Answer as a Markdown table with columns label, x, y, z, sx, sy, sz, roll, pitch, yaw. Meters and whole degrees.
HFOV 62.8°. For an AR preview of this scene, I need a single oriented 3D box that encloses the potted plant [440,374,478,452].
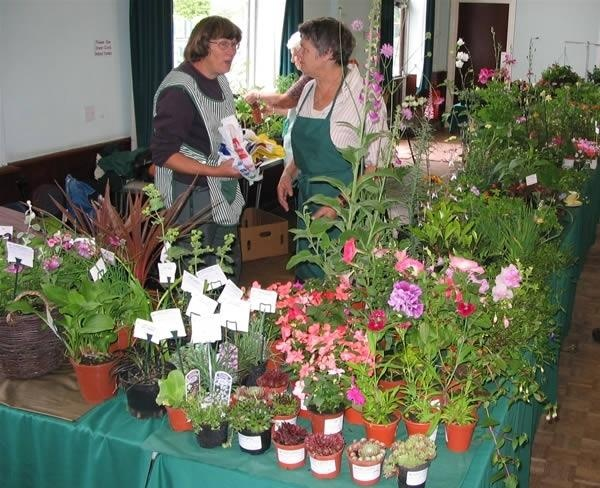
| label | x | y | z | sx | sy | sz | roll | pitch | yaw |
| --- | --- | --- | --- | --- | --- | --- | --- | --- | --- |
| potted plant | 0.459 | 0.497 | 1.432 | 0.111 | 0.198 | 0.122 | 9 | 25 | 21 |

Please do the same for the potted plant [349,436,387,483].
| label | x | y | z | sx | sy | sz | roll | pitch | yaw |
| --- | --- | --- | --- | --- | --- | --- | --- | --- | --- |
| potted plant | 0.175 | 0.557 | 1.285 | 0.086 | 0.088 | 0.088 | 2 | 18 | 14 |

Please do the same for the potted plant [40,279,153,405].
| label | x | y | z | sx | sy | sz | roll | pitch | yaw |
| --- | --- | --- | --- | --- | --- | --- | --- | --- | --- |
| potted plant | -0.681 | 0.242 | 1.745 | 0.371 | 0.434 | 0.343 | 1 | 13 | -40 |

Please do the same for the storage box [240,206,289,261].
| label | x | y | z | sx | sy | sz | roll | pitch | yaw |
| --- | --- | --- | --- | --- | --- | --- | --- | --- | --- |
| storage box | -0.391 | -0.095 | 5.111 | 0.487 | 0.368 | 0.550 | -6 | 20 | -16 |

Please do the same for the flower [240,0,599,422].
| label | x | y | z | sx | sy | sz | roll | pitch | yaw |
| --- | --- | --- | --- | --- | --- | --- | --- | --- | --- |
| flower | 0.484 | -0.299 | 2.105 | 1.130 | 0.724 | 1.762 | 3 | 14 | 9 |

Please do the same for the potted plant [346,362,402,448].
| label | x | y | z | sx | sy | sz | roll | pitch | yaw |
| --- | --- | --- | --- | --- | --- | --- | --- | --- | --- |
| potted plant | 0.226 | 0.446 | 1.459 | 0.144 | 0.236 | 0.235 | 2 | 9 | 13 |

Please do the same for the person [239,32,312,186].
| label | x | y | z | sx | sy | sz | roll | pitch | yaw |
| --- | --- | --- | --- | --- | --- | --- | --- | --- | --- |
| person | -0.052 | -1.056 | 3.638 | 0.536 | 1.064 | 0.417 | 8 | 17 | 1 |
